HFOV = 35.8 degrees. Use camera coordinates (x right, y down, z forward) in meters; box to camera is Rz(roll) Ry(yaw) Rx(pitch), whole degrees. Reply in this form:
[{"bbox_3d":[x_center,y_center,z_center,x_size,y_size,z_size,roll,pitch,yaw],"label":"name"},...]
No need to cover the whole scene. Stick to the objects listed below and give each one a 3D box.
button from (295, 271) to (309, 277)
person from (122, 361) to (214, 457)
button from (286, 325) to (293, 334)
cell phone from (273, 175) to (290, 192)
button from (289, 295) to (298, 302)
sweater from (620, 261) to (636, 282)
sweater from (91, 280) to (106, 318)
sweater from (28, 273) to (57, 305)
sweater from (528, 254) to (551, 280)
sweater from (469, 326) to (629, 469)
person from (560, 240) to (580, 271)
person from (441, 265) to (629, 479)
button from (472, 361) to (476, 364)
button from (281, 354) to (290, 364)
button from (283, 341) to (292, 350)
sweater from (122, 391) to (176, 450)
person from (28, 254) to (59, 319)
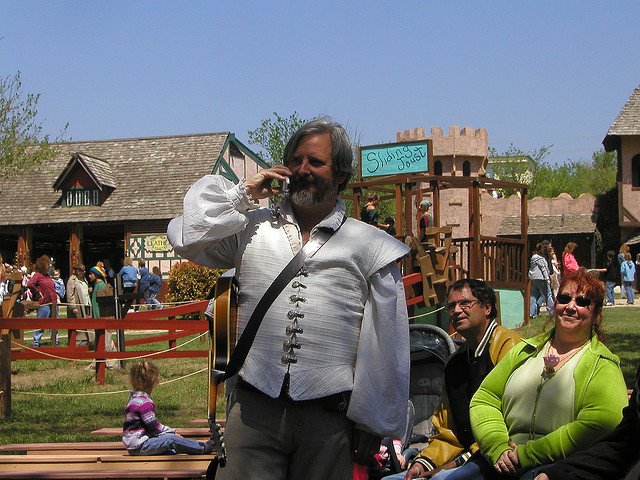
[{"bbox_3d":[-0.164,0.337,9.600,0.089,0.027,0.052,13,-7,7],"label":"button"},{"bbox_3d":[-1.875,2.137,12.419,1.184,1.170,0.798,4,-6,-27],"label":"person"},{"bbox_3d":[-0.286,0.870,9.523,0.064,0.066,0.017,5,-1,8],"label":"button"},{"bbox_3d":[-0.342,-0.544,9.744,0.124,0.166,0.055,5,8,31],"label":"cell phone"},{"bbox_3d":[-0.247,0.575,9.560,0.079,0.066,0.024,-2,-2,-8],"label":"button"},{"bbox_3d":[8.037,0.850,25.838,0.323,0.536,0.632,-2,-2,15],"label":"sweater"},{"bbox_3d":[-4.337,1.175,19.244,0.216,0.676,0.480,0,-5,5],"label":"sweater"},{"bbox_3d":[-5.824,0.937,20.850,0.347,0.691,0.686,1,0,9],"label":"sweater"},{"bbox_3d":[4.914,0.614,22.193,0.404,0.650,0.741,-2,2,-19],"label":"sweater"},{"bbox_3d":[2.310,1.712,10.166,1.448,1.660,0.973,13,-2,30],"label":"sweater"},{"bbox_3d":[7.398,0.465,29.182,0.499,0.899,0.662,-3,24,4],"label":"person"},{"bbox_3d":[2.322,1.362,10.023,1.477,2.052,0.541,-2,-2,16],"label":"person"},{"bbox_3d":[1.662,1.329,10.649,0.038,0.036,0.009,1,-4,6],"label":"button"},{"bbox_3d":[-0.320,1.158,9.494,0.088,0.048,0.119,4,-1,-8],"label":"button"},{"bbox_3d":[-0.302,1.026,9.509,0.077,0.079,0.026,-2,-10,2],"label":"button"},{"bbox_3d":[-2.161,2.225,12.360,0.618,0.766,0.595,0,-4,-34],"label":"sweater"},{"bbox_3d":[-5.804,0.995,20.838,0.591,1.301,1.144,-1,-2,-16],"label":"person"}]
